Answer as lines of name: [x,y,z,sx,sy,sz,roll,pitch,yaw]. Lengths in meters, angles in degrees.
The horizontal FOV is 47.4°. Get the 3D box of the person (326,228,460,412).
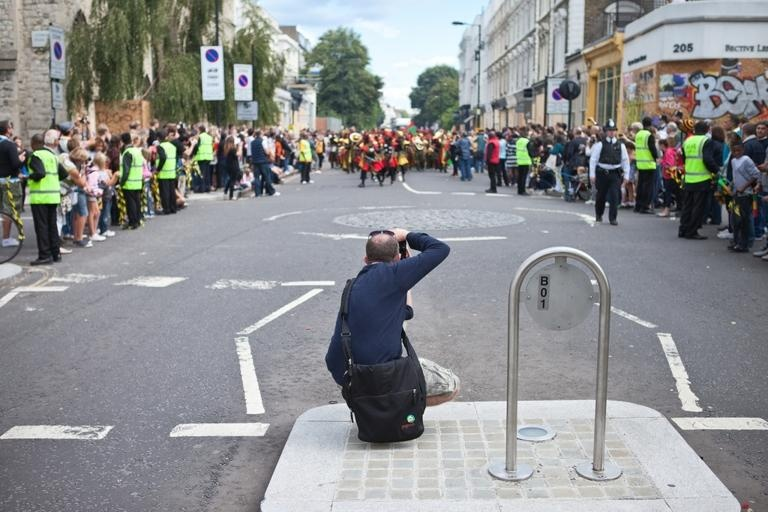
person: [0.067,0.565,8.334,1.288,1.686,1.190,-2,-7,-5]

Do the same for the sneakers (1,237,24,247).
sneakers: [-6.708,-0.264,15.762,0.144,0.126,0.337,-38,-23,32]
